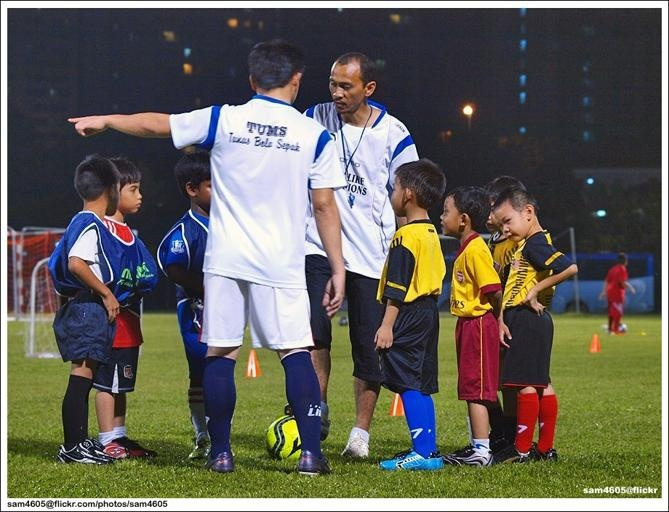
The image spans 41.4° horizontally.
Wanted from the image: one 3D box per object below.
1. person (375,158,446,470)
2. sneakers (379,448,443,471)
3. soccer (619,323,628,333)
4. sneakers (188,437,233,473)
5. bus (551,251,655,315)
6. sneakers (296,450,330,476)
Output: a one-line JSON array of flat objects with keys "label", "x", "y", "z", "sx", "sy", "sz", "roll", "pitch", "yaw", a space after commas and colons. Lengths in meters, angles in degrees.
[{"label": "person", "x": 0.653, "y": 0.479, "z": 7.707, "sx": 0.578, "sy": 2.611, "sz": 0.635, "roll": 0, "pitch": 4, "yaw": 6}, {"label": "sneakers", "x": 0.647, "y": 1.744, "z": 7.628, "sx": 0.573, "sy": 0.218, "sz": 0.205, "roll": 2, "pitch": -12, "yaw": 0}, {"label": "soccer", "x": 5.584, "y": 1.397, "z": 17.197, "sx": 0.129, "sy": 0.168, "sz": 0.139, "roll": -9, "pitch": 21, "yaw": 6}, {"label": "sneakers", "x": -1.060, "y": 1.690, "z": 7.599, "sx": 0.184, "sy": 0.254, "sz": 0.558, "roll": 2, "pitch": -1, "yaw": -22}, {"label": "bus", "x": 7.558, "y": 0.854, "z": 25.178, "sx": 2.794, "sy": 1.921, "sz": 1.820, "roll": -2, "pitch": -3, "yaw": 10}, {"label": "sneakers", "x": -0.184, "y": 1.693, "z": 7.258, "sx": 0.137, "sy": 0.130, "sz": 0.286, "roll": -1, "pitch": -6, "yaw": 22}]
